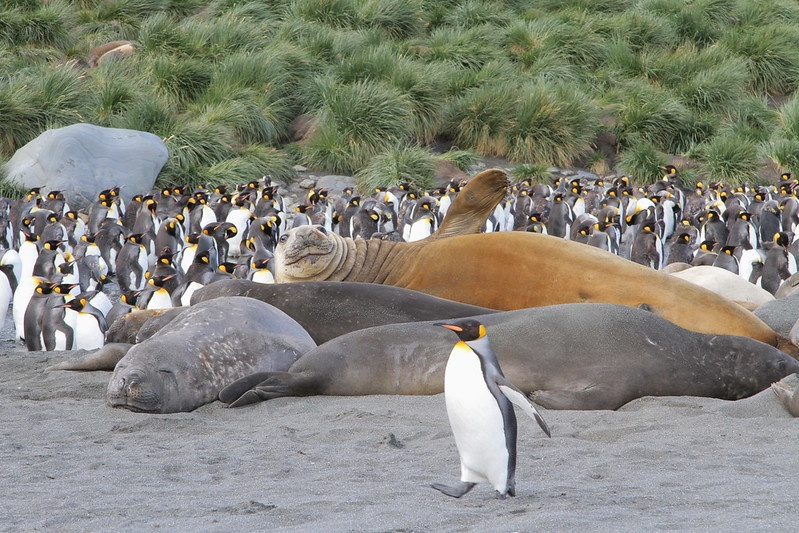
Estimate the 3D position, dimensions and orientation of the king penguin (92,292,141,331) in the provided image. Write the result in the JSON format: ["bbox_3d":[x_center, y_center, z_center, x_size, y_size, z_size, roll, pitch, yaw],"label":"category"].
[{"bbox_3d":[-4.371,0.652,20.948,0.818,0.646,0.410,-10,49,-18],"label":"king penguin"}]

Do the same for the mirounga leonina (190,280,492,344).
[{"bbox_3d":[-0.838,0.550,18.816,3.905,1.215,1.368,1,18,7],"label":"mirounga leonina"}]
